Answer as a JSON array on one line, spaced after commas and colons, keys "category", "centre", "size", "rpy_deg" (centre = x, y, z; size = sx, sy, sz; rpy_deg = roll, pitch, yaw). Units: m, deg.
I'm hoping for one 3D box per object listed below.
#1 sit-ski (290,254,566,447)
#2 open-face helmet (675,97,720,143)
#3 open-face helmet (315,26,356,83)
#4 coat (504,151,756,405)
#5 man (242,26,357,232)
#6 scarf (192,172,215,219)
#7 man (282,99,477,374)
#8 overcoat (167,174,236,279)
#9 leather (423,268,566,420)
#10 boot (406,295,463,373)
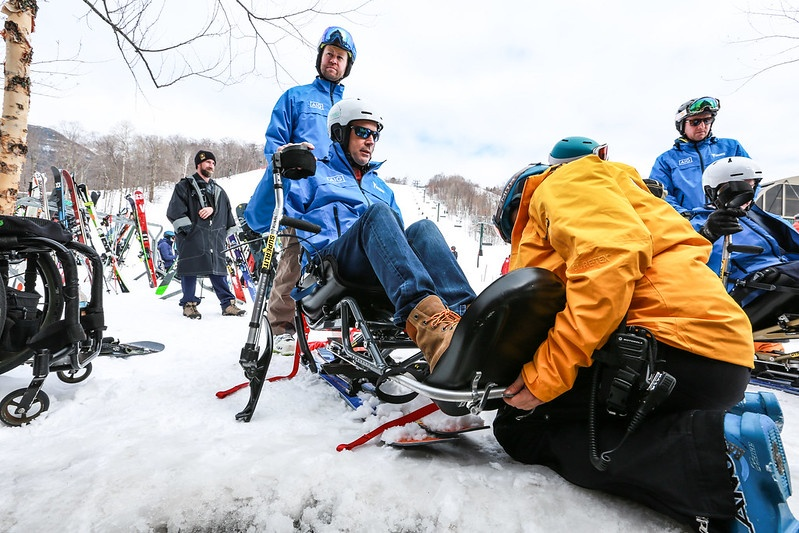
[{"category": "sit-ski", "centre": [0.070, 0.488, 3.923], "size": [1.289, 0.945, 1.959], "rpy_deg": [5, 4, -42]}, {"category": "open-face helmet", "centre": [3.519, -1.783, 6.541], "size": [0.438, 0.452, 0.510], "rpy_deg": [-11, 5, -4]}, {"category": "open-face helmet", "centre": [-0.649, -2.214, 5.624], "size": [0.372, 0.430, 0.597], "rpy_deg": [1, 6, -9]}, {"category": "coat", "centre": [1.436, 0.006, 3.582], "size": [1.513, 1.311, 1.552], "rpy_deg": [4, 5, 26]}, {"category": "man", "centre": [-0.854, -1.241, 5.680], "size": [0.938, 2.584, 0.765], "rpy_deg": [7, -14, -8]}, {"category": "scarf", "centre": [-2.745, -0.982, 7.701], "size": [0.332, 0.543, 0.145], "rpy_deg": [12, 24, 37]}, {"category": "man", "centre": [-0.129, -0.332, 4.093], "size": [1.110, 2.203, 1.357], "rpy_deg": [4, -21, -41]}, {"category": "overcoat", "centre": [-2.783, -0.596, 7.809], "size": [0.623, 1.465, 0.994], "rpy_deg": [6, 7, 29]}, {"category": "leather", "centre": [0.528, 0.390, 3.204], "size": [0.530, 0.826, 0.202], "rpy_deg": [23, 11, -26]}, {"category": "boot", "centre": [0.255, 0.390, 3.348], "size": [0.197, 0.376, 0.572], "rpy_deg": [8, -21, -42]}]
